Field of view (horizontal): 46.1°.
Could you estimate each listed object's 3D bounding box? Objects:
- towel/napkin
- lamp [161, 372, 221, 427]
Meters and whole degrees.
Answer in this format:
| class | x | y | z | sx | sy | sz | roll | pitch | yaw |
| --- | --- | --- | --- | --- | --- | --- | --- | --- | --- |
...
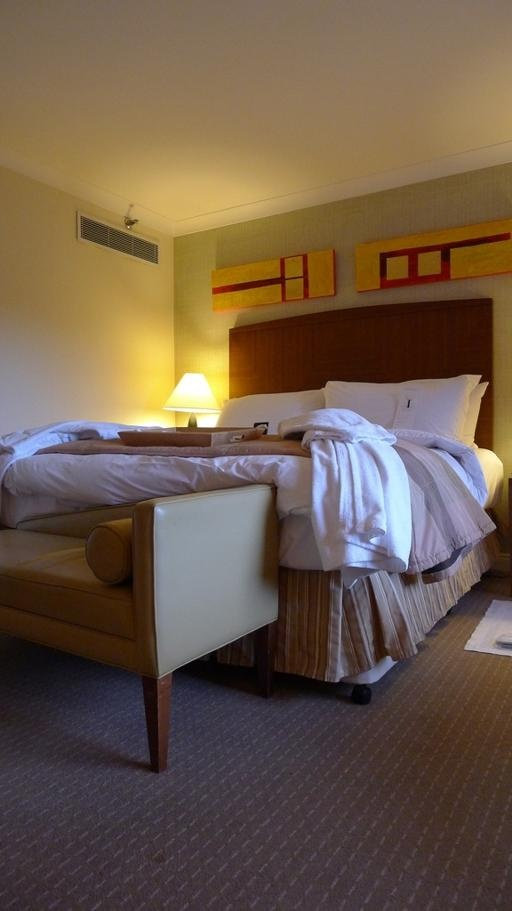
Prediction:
| class | x | y | z | sx | sy | sz | roll | pitch | yaw |
| --- | --- | --- | --- | --- | --- | --- | --- | --- | --- |
| towel/napkin | 0.248 | 0.090 | 1.548 | 0.248 | 0.151 | 0.447 | 5 | 46 | -5 |
| lamp | -0.418 | -0.353 | 4.384 | 0.375 | 0.482 | 0.443 | 1 | 1 | 19 |
